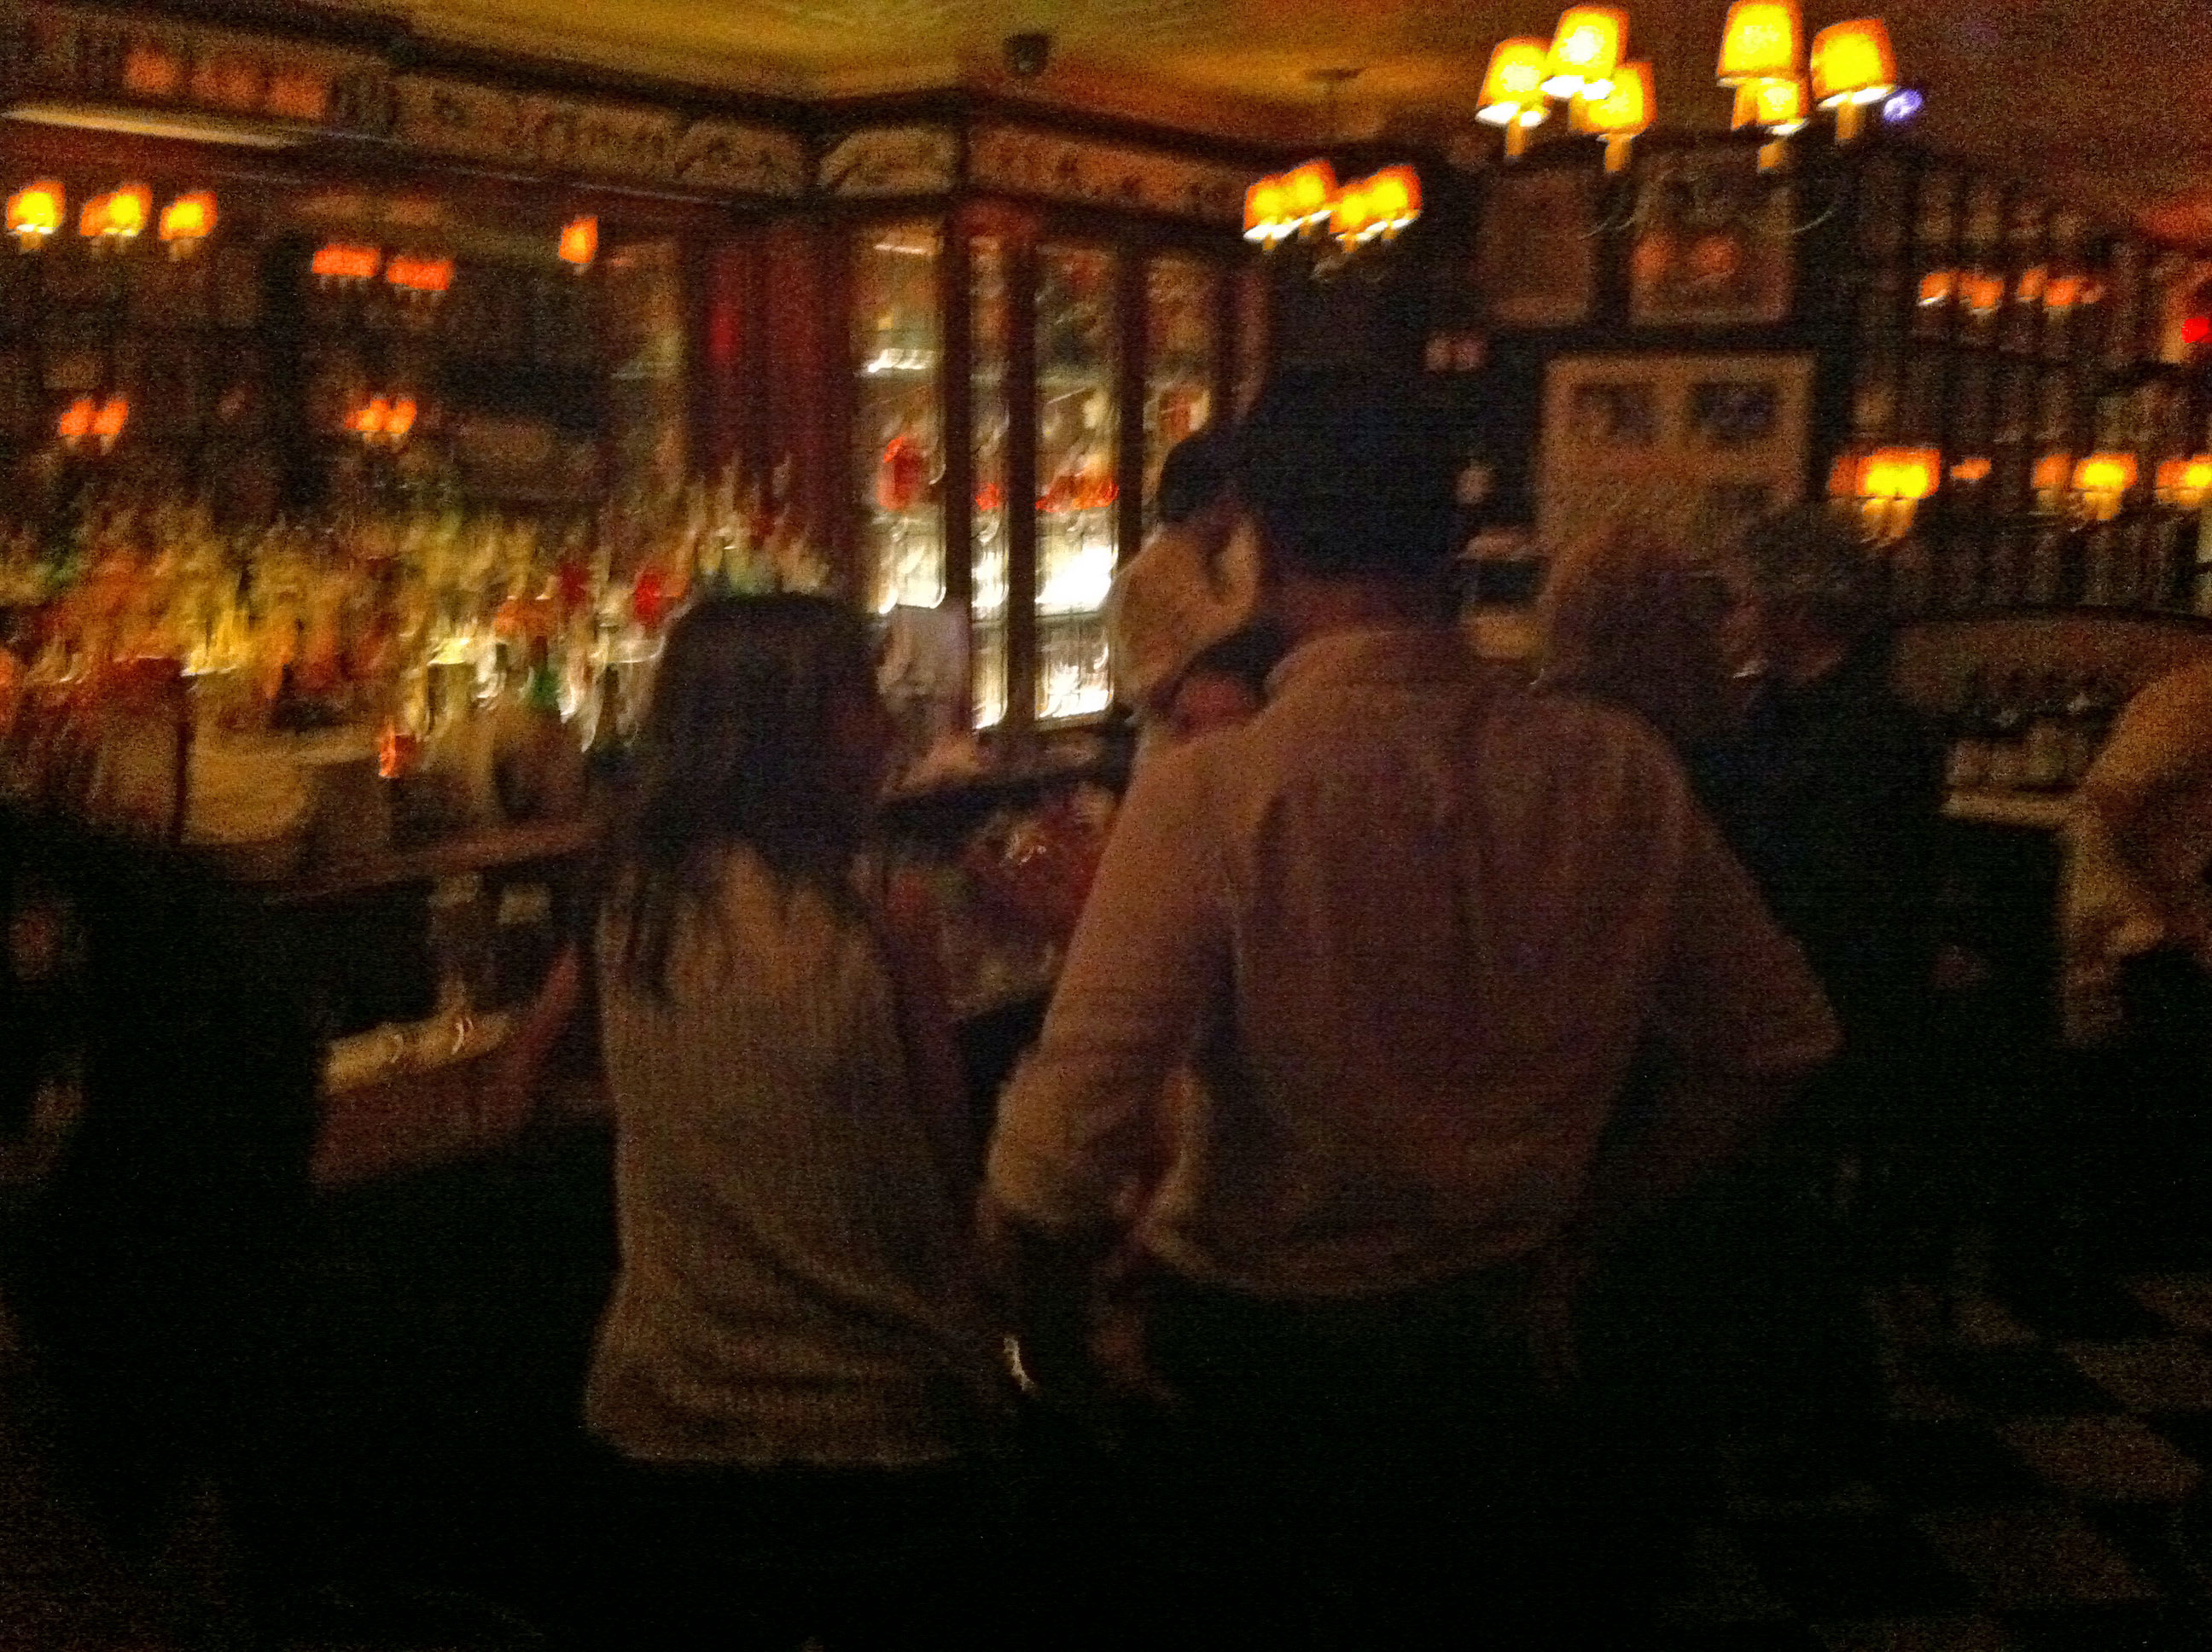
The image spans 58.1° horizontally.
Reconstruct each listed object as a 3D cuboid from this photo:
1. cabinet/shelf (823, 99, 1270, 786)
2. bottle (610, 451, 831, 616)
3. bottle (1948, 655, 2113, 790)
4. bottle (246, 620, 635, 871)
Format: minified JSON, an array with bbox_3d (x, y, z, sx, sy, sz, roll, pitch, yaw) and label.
[{"bbox_3d":[-0.072,-0.477,2.508,0.356,0.951,0.750,15,20,40],"label":"cabinet/shelf"},{"bbox_3d":[-0.455,-0.339,2.377,0.222,0.081,0.153,-6,10,9],"label":"bottle"},{"bbox_3d":[1.098,-0.109,2.347,0.190,0.142,0.016,0,10,0],"label":"bottle"},{"bbox_3d":[-0.790,-0.109,2.509,0.271,0.116,0.372,7,17,27],"label":"bottle"}]
